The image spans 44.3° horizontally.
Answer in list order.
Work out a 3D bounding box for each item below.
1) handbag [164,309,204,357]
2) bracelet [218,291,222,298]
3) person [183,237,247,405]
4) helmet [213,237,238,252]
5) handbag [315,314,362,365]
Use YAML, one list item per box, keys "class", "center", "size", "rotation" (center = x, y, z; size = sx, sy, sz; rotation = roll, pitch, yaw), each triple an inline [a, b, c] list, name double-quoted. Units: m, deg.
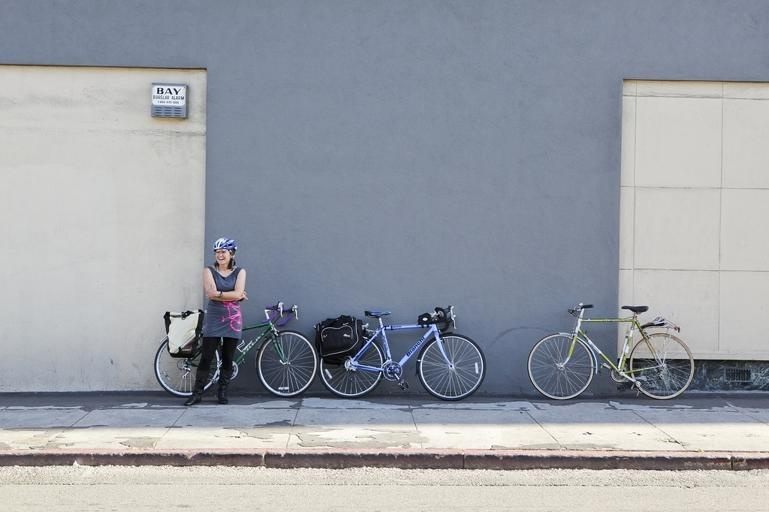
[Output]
- class: "handbag"
  center: [-3.198, 1.244, 15.124]
  size: [0.723, 0.756, 0.424]
  rotation: [-1, -7, 7]
- class: "bracelet"
  center: [-2.539, 0.592, 14.649]
  size: [0.060, 0.078, 0.025]
  rotation: [3, -4, -4]
- class: "person"
  center: [-2.648, 1.006, 14.910]
  size: [0.882, 2.555, 0.528]
  rotation: [-2, 6, -14]
- class: "helmet"
  center: [-2.471, -0.167, 14.783]
  size: [0.256, 0.198, 0.316]
  rotation: [5, 14, 26]
- class: "handbag"
  center: [-0.706, 1.330, 15.399]
  size: [0.831, 0.794, 0.458]
  rotation: [-4, -17, 25]
